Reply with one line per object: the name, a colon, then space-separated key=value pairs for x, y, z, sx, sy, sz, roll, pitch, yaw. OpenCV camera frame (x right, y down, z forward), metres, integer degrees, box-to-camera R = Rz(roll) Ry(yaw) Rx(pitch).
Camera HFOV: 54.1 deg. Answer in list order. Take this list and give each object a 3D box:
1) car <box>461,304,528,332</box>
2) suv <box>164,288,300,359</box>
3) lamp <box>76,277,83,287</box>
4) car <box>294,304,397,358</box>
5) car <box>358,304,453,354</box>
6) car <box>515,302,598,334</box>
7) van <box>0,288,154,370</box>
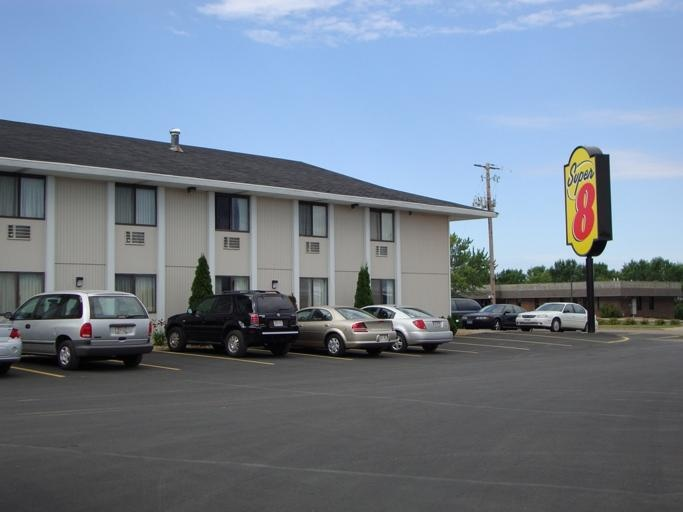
car: x=8.588 y=3.559 z=38.251 sx=1.546 sy=1.223 sz=3.432 roll=-7 pitch=-11 yaw=43
suv: x=-3.381 y=2.015 z=21.738 sx=3.652 sy=1.720 sz=1.947 roll=2 pitch=-1 yaw=39
lamp: x=-9.651 y=0.936 z=24.604 sx=0.314 sy=0.490 sz=0.205 roll=1 pitch=-2 yaw=-40
car: x=0.115 y=2.450 z=22.035 sx=1.543 sy=1.196 sz=3.320 roll=3 pitch=-1 yaw=-43
car: x=2.252 y=2.658 z=24.189 sx=3.417 sy=1.257 sz=1.472 roll=1 pitch=-2 yaw=44
car: x=11.842 y=3.433 z=37.489 sx=3.759 sy=1.554 sz=1.677 roll=1 pitch=-4 yaw=-17
van: x=-7.148 y=2.075 z=18.151 sx=3.555 sy=1.563 sz=1.985 roll=4 pitch=0 yaw=43
